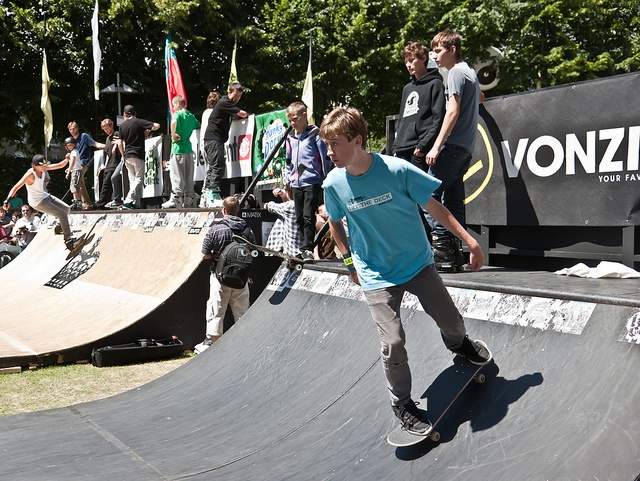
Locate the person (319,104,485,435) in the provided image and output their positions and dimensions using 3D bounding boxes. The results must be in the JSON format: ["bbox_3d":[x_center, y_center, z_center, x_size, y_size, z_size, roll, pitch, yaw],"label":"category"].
[{"bbox_3d":[0.675,0.227,5.761,1.325,2.747,0.664,0,6,6],"label":"person"}]

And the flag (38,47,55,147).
[{"bbox_3d":[-7.995,-4.197,19.224,0.244,3.037,3.450,-4,6,-22],"label":"flag"}]

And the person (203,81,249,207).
[{"bbox_3d":[-1.670,-1.595,11.260,0.737,2.032,0.639,-2,6,-11],"label":"person"}]

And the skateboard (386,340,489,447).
[{"bbox_3d":[1.027,1.349,5.759,1.016,0.172,0.285,-45,27,-15],"label":"skateboard"}]

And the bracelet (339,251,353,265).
[{"bbox_3d":[0.236,0.159,6.126,0.090,0.112,0.104,-4,7,8],"label":"bracelet"}]

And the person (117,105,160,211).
[{"bbox_3d":[-3.661,-1.636,13.177,0.690,2.000,0.498,-1,6,-1],"label":"person"}]

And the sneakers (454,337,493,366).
[{"bbox_3d":[1.357,0.969,5.856,0.382,0.174,0.186,20,62,33],"label":"sneakers"}]

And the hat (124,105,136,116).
[{"bbox_3d":[-3.824,-2.559,13.181,0.179,0.263,0.501,-3,6,-19],"label":"hat"}]

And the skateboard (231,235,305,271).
[{"bbox_3d":[-0.754,0.151,9.235,0.777,0.195,0.135,26,48,-1],"label":"skateboard"}]

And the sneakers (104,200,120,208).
[{"bbox_3d":[-4.434,-0.767,14.114,0.380,0.191,0.146,-1,-3,23],"label":"sneakers"}]

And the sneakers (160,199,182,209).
[{"bbox_3d":[-2.737,-0.654,12.074,0.339,0.165,0.181,5,4,19],"label":"sneakers"}]

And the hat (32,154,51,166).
[{"bbox_3d":[-5.383,-1.515,12.597,0.210,0.273,0.285,7,15,23],"label":"hat"}]

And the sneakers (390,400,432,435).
[{"bbox_3d":[0.772,1.499,5.620,0.173,0.155,0.364,-14,7,-25],"label":"sneakers"}]

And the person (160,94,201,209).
[{"bbox_3d":[-2.577,-1.609,12.077,0.516,1.997,0.785,0,6,10],"label":"person"}]

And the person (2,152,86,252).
[{"bbox_3d":[-5.310,-0.689,12.721,0.982,1.828,0.569,-4,7,-23],"label":"person"}]

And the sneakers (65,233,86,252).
[{"bbox_3d":[-4.891,0.014,13.105,0.186,0.260,0.584,2,21,29],"label":"sneakers"}]
